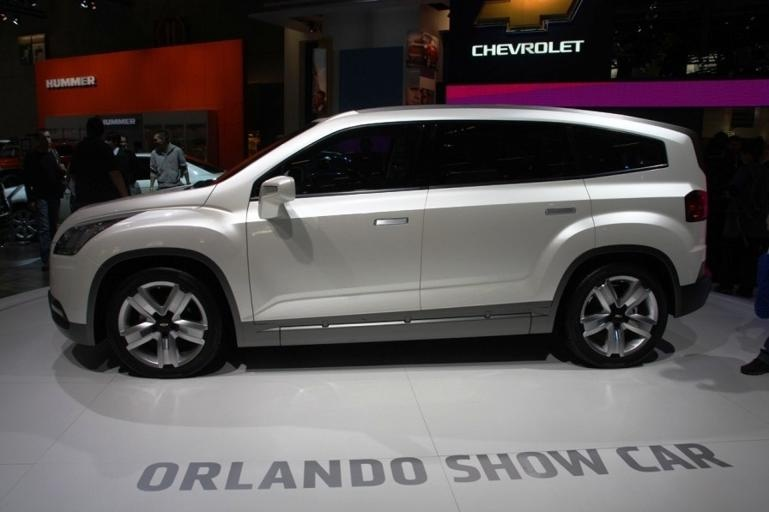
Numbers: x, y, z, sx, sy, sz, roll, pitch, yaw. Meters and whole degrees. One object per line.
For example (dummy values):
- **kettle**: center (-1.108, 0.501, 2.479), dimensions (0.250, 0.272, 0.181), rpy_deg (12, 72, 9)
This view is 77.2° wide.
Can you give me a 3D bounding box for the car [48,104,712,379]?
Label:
- **car**: center (0.022, -0.133, 5.087), dimensions (5.393, 2.227, 2.619), rpy_deg (1, 1, -3)
